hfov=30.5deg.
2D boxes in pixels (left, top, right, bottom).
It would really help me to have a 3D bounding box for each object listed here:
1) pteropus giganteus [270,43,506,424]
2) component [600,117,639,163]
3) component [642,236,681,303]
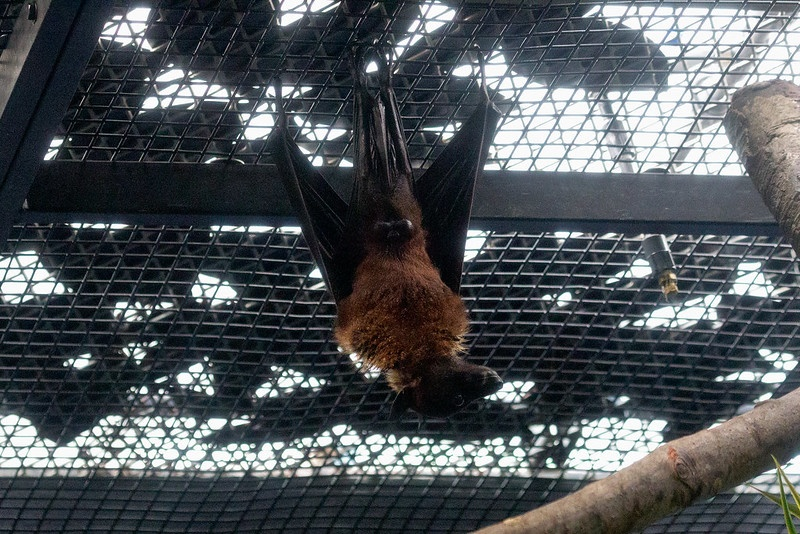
[{"bbox_3d":[-0.025,-0.210,12.532,2.234,3.010,0.950,-7,1,-7],"label":"pteropus giganteus"},{"bbox_3d":[2.028,-1.140,13.439,0.303,0.420,0.118,-6,4,-2],"label":"component"},{"bbox_3d":[2.548,-0.012,14.098,0.271,0.571,0.419,-8,4,-14],"label":"component"}]
